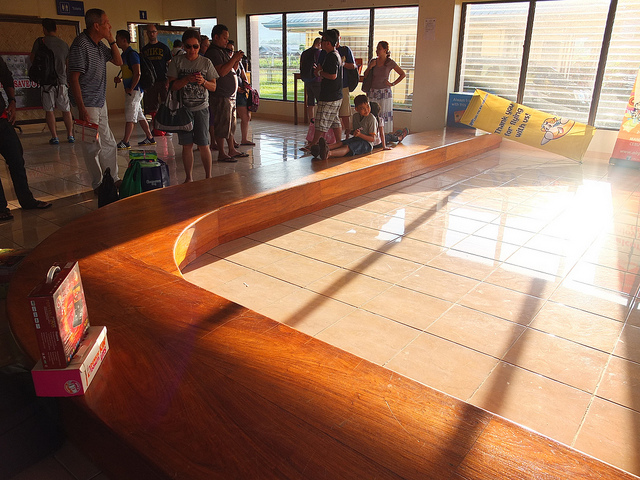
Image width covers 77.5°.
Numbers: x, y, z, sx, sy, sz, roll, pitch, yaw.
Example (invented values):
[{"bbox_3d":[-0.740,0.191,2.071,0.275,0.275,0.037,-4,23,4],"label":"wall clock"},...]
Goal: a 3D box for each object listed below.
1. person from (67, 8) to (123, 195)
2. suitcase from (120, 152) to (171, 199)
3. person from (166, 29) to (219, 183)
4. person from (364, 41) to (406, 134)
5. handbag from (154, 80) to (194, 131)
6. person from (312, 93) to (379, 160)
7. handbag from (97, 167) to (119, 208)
[{"bbox_3d":[-2.670,-1.622,4.856,0.486,2.077,0.640,22,31,40],"label":"person"},{"bbox_3d":[-1.866,-0.727,4.283,0.389,0.514,0.530,11,26,25],"label":"suitcase"},{"bbox_3d":[-1.575,-1.630,5.025,0.609,1.782,0.381,-5,24,-15],"label":"person"},{"bbox_3d":[1.121,-2.736,7.217,0.665,1.525,0.714,7,24,13],"label":"person"},{"bbox_3d":[-1.794,-1.615,4.830,0.410,0.535,0.196,-6,25,-16],"label":"handbag"},{"bbox_3d":[0.393,-1.601,5.690,0.522,0.819,1.153,25,37,32],"label":"person"},{"bbox_3d":[-2.185,-0.548,4.095,0.220,0.376,0.180,-18,30,-37],"label":"handbag"}]
